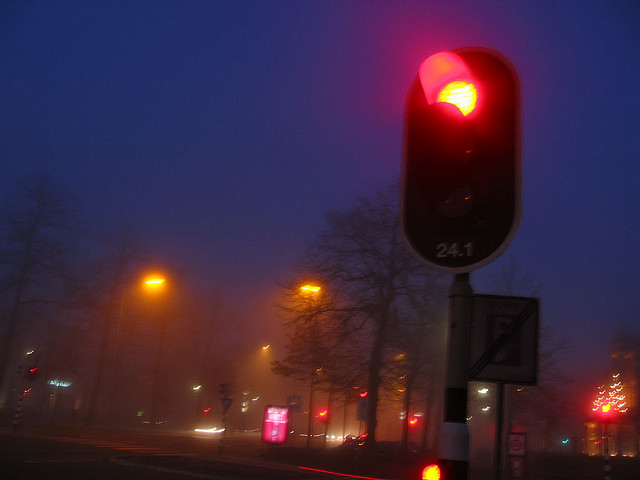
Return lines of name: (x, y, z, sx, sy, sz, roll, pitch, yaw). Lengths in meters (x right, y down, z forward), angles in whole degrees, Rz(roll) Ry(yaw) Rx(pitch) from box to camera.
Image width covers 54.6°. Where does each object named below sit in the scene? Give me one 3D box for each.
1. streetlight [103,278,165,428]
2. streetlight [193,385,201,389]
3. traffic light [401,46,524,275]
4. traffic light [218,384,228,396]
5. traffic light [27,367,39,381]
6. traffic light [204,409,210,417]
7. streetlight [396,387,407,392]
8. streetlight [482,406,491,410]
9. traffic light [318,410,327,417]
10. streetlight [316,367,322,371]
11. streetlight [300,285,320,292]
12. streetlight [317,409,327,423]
streetlight: (-4.830, 2.745, 15.832, 0.872, 3.716, 0.561, 6, -14, -10)
streetlight: (-3.579, 4.273, 18.029, 0.125, 0.114, 0.279, 2, -14, 7)
traffic light: (1.180, -0.696, 5.175, 0.990, 1.915, 0.515, 2, -14, 7)
traffic light: (-3.129, 4.813, 19.963, 0.413, 0.367, 0.098, 4, 2, -41)
traffic light: (-6.421, 2.981, 13.802, 0.154, 0.296, 0.399, 2, -14, 9)
traffic light: (-3.666, 5.543, 19.833, 0.179, 0.173, 0.053, 0, 6, -26)
streetlight: (2.743, 5.042, 20.875, 0.291, 0.147, 0.578, 2, -14, 8)
streetlight: (2.510, 2.535, 9.349, 0.109, 0.041, 0.235, 0, -15, 14)
traffic light: (0.098, 6.946, 24.822, 0.260, 0.252, 0.061, 8, -5, -12)
streetlight: (-0.040, 4.230, 20.255, 0.189, 0.086, 0.045, -2, -15, 19)
streetlight: (-0.338, 1.634, 20.734, 0.640, 0.229, 0.048, 9, -15, -21)
streetlight: (0.080, 7.068, 24.890, 0.133, 0.490, 0.529, 8, -4, -5)
